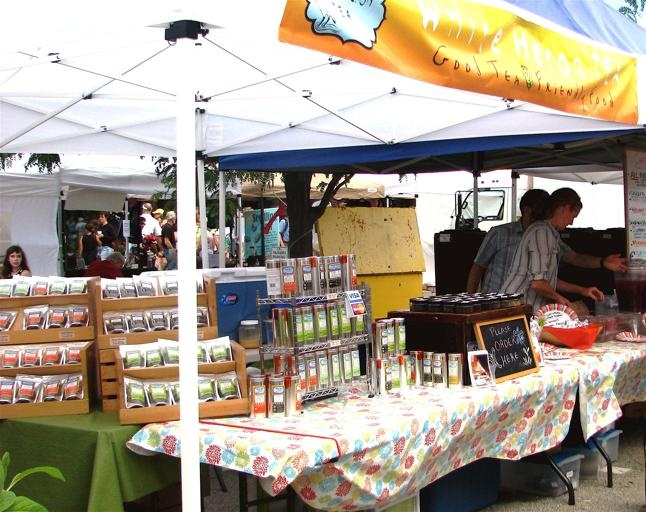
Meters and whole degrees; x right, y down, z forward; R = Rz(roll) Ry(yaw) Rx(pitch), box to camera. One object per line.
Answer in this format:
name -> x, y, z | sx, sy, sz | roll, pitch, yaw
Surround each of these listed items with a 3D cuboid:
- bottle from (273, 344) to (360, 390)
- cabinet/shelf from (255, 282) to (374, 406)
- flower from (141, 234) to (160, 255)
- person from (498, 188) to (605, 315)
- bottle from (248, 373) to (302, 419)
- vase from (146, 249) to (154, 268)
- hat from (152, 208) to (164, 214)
bottle -> -0.053, 0.598, 3.182 | 0.290, 0.147, 0.094 | -3, 3, -39
cabinet/shelf -> -0.035, 0.488, 3.232 | 0.693, 0.629, 0.271 | 1, -5, -40
flower -> -3.461, -0.248, 11.775 | 0.344, 0.409, 0.174 | -3, 0, -43
person -> 1.861, -0.054, 4.849 | 0.587, 0.909, 0.800 | -3, 0, 41
bottle -> -0.252, 0.726, 3.041 | 0.231, 0.168, 0.232 | 0, -1, 0
vase -> -3.431, 0.047, 11.627 | 0.131, 0.364, 0.291 | -3, 0, -17
hat -> -3.571, -0.944, 12.358 | 0.296, 0.124, 0.199 | 3, 4, 15
